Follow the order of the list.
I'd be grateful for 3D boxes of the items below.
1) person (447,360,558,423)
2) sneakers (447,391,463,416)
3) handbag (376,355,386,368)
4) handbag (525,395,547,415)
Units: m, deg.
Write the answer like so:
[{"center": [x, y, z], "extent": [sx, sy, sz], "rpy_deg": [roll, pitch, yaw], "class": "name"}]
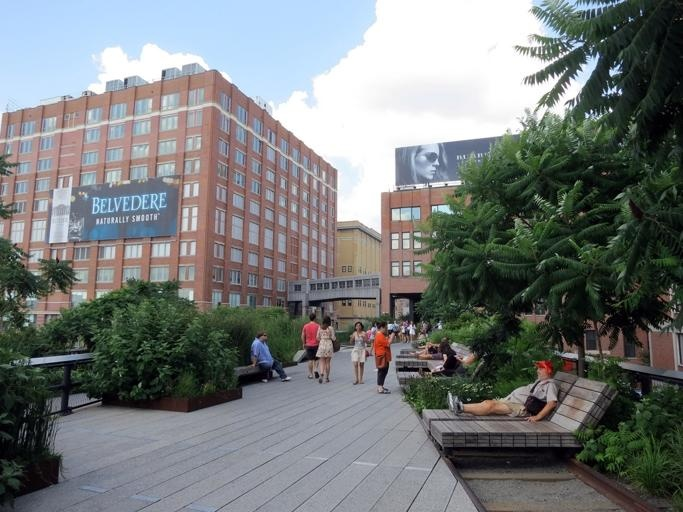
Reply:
[{"center": [2.544, 2.056, 7.310], "extent": [1.412, 0.829, 0.929], "rpy_deg": [1, -13, -3], "class": "person"}, {"center": [1.795, 2.328, 7.359], "extent": [0.182, 0.441, 0.163], "rpy_deg": [-8, -25, 2], "class": "sneakers"}, {"center": [1.011, 2.665, 11.833], "extent": [0.314, 0.352, 0.156], "rpy_deg": [0, 3, 11], "class": "handbag"}, {"center": [2.965, 2.262, 7.115], "extent": [0.170, 0.224, 0.300], "rpy_deg": [26, -4, -16], "class": "handbag"}]
